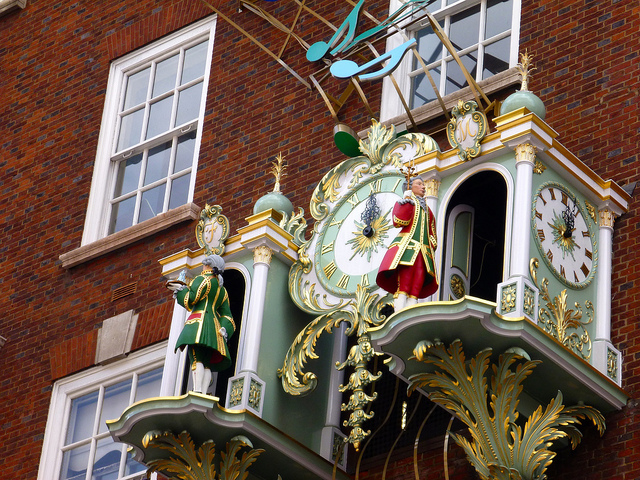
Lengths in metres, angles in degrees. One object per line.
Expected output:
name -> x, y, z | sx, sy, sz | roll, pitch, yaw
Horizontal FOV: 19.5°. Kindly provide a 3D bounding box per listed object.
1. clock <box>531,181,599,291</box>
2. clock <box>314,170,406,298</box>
clock -> 2.797, -0.022, 21.444 | 0.143, 1.158, 1.032 | -26, -37, 37
clock -> 0.503, -0.022, 22.151 | 1.344, 1.295, 0.119 | -26, -48, 33
